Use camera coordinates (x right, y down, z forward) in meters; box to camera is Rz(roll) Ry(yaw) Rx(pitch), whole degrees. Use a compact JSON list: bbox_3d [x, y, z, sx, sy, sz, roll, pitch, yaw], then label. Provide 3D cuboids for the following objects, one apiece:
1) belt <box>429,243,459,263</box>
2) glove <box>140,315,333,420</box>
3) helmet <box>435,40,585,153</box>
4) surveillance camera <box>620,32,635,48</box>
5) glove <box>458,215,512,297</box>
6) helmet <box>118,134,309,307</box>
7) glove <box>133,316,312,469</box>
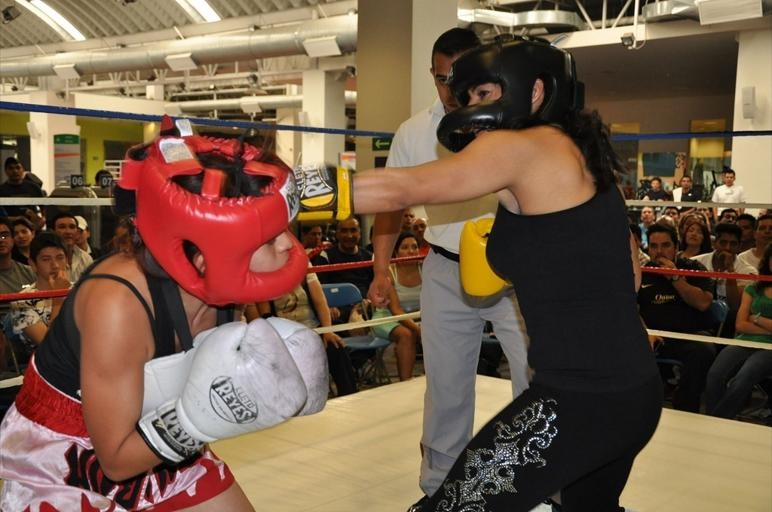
[{"bbox_3d":[0.256,-0.027,2.526,0.085,0.020,0.084,14,11,-44],"label":"belt"},{"bbox_3d":[-0.370,0.280,1.462,0.350,0.259,0.159,-10,38,-23],"label":"glove"},{"bbox_3d":[0.344,-0.454,1.729,0.392,0.295,0.286,1,-8,-10],"label":"helmet"},{"bbox_3d":[2.995,-2.668,7.360,0.140,0.194,0.201,4,38,32],"label":"surveillance camera"},{"bbox_3d":[0.340,0.003,2.095,0.200,0.261,0.093,3,1,-4],"label":"glove"},{"bbox_3d":[-0.419,-0.065,1.450,0.433,0.451,0.266,4,10,18],"label":"helmet"},{"bbox_3d":[-0.402,0.313,1.451,0.413,0.312,0.189,-17,1,-1],"label":"glove"}]
